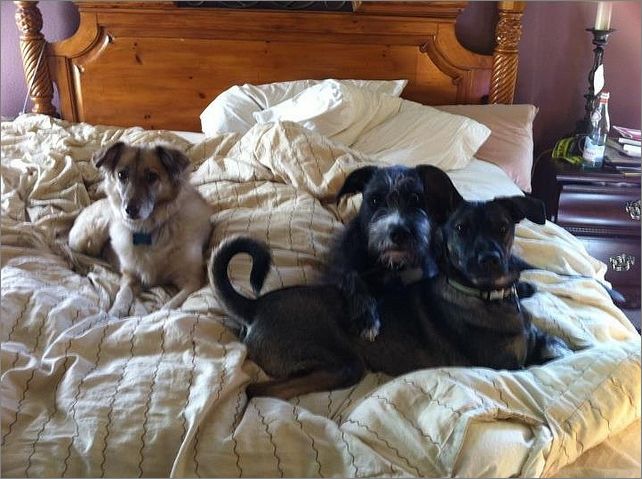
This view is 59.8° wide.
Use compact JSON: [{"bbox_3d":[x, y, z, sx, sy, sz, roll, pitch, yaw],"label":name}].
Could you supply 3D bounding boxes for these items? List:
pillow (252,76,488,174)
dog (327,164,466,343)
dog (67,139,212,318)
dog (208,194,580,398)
[{"bbox_3d":[0.311,-0.589,2.889,1.041,0.323,0.656,20,41,25],"label":"pillow"},{"bbox_3d":[0.207,0.048,1.816,0.373,0.527,0.677,2,-2,-8],"label":"dog"},{"bbox_3d":[-0.722,-0.091,2.225,0.474,0.472,0.670,8,33,8],"label":"dog"},{"bbox_3d":[0.237,0.181,1.736,1.088,0.577,0.567,-9,11,-7],"label":"dog"}]
